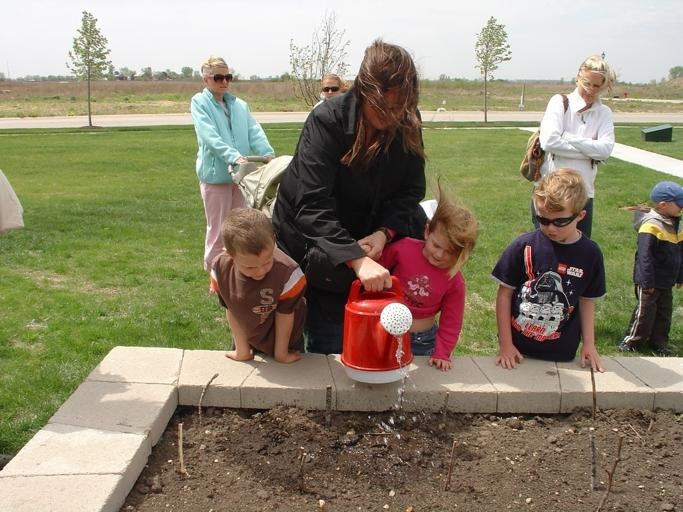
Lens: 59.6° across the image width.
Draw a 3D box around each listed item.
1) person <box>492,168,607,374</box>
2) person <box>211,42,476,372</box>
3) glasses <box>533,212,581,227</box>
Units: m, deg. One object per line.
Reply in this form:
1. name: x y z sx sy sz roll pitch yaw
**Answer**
1. person: 1.446 0.098 4.309 0.810 1.351 0.423 -8 21 -12
2. person: 0.107 -0.238 3.940 1.097 2.204 0.801 -6 21 -7
3. glasses: 1.486 -0.248 4.174 0.274 0.089 0.135 7 22 25
